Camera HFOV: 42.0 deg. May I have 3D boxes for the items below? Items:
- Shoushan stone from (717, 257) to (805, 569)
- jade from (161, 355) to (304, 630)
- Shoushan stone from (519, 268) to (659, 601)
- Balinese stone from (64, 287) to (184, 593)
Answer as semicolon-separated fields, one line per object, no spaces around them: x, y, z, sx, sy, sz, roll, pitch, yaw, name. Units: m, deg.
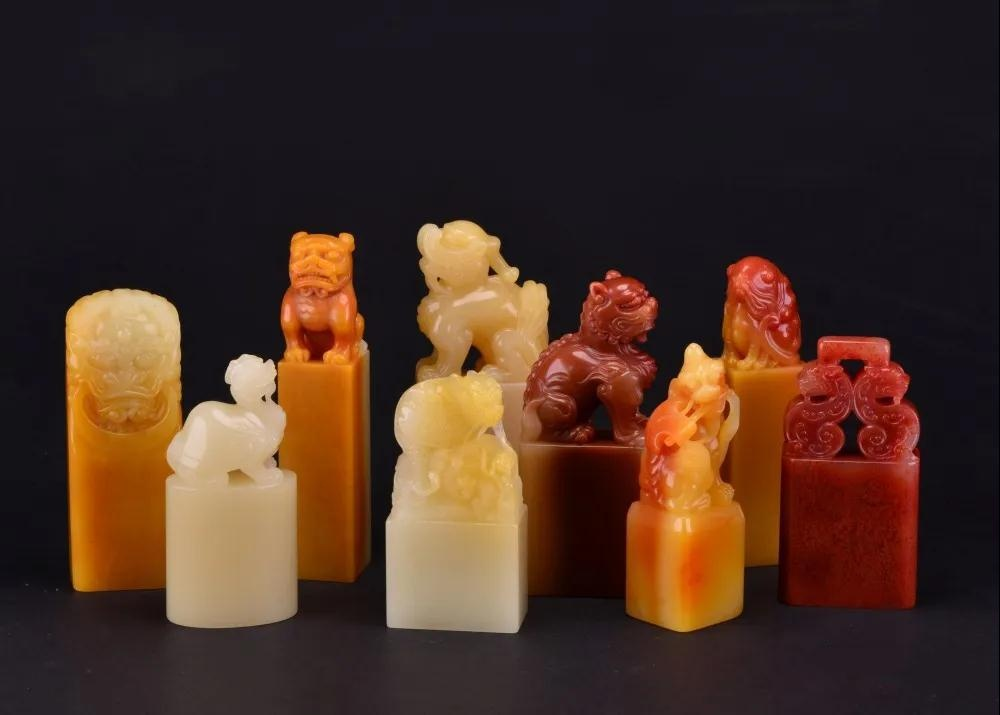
1.210;0.298;6.141;0.386;1.492;0.427;5;13;4;Shoushan stone
-1.108;0.554;5.362;0.557;1.066;0.351;1;9;-16;jade
0.383;0.324;5.763;0.616;1.429;0.670;-12;17;-31;Shoushan stone
-1.652;0.294;5.750;0.480;1.246;0.410;-1;18;-18;Balinese stone
